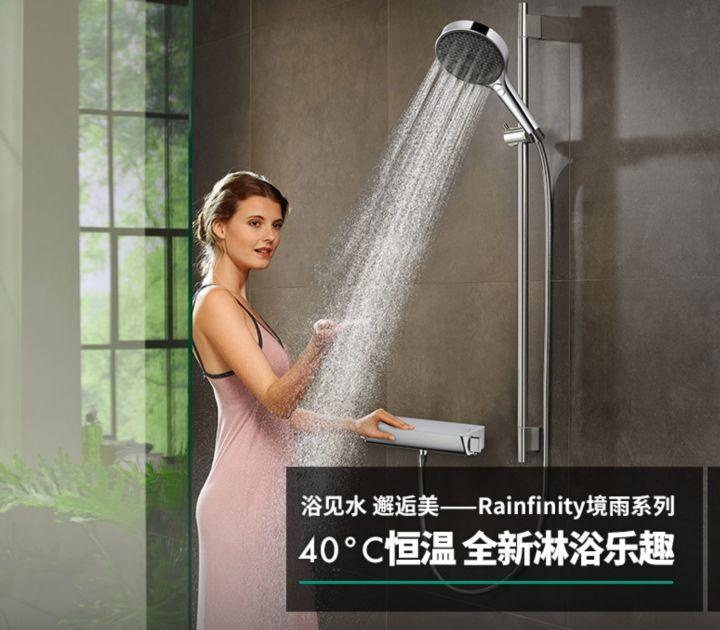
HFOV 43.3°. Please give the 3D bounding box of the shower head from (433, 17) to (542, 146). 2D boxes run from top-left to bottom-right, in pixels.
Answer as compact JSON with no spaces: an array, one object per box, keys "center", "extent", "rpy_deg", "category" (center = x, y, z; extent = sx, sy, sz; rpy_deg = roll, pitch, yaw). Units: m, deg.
[{"center":[0.249,-0.445,1.750],"extent":[0.167,0.206,0.311],"rpy_deg":[2,1,21],"category":"shower head"}]
